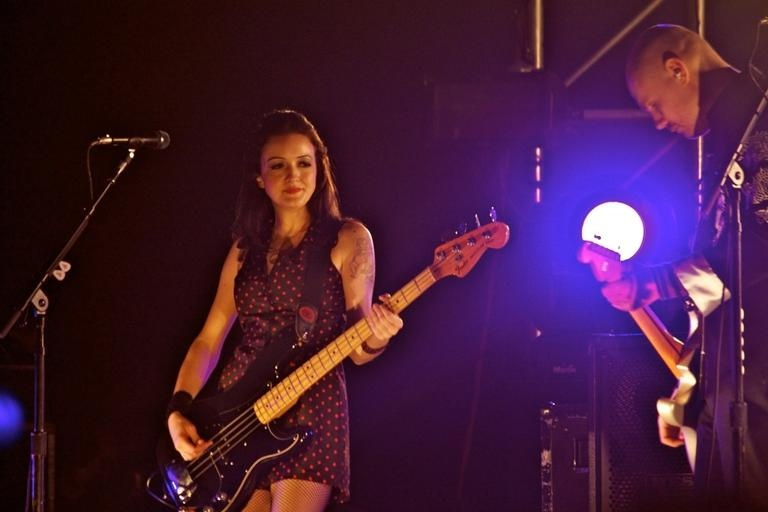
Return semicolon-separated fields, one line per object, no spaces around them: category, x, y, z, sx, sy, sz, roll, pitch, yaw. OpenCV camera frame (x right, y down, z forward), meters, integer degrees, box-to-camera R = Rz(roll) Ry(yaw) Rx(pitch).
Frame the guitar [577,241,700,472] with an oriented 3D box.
guitar;1.408;0.503;3.929;0.894;0.158;0.457;-38;-40;-8

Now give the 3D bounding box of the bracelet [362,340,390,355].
bracelet;-0.053;0.492;3.913;0.130;0.063;0.085;2;-30;2
